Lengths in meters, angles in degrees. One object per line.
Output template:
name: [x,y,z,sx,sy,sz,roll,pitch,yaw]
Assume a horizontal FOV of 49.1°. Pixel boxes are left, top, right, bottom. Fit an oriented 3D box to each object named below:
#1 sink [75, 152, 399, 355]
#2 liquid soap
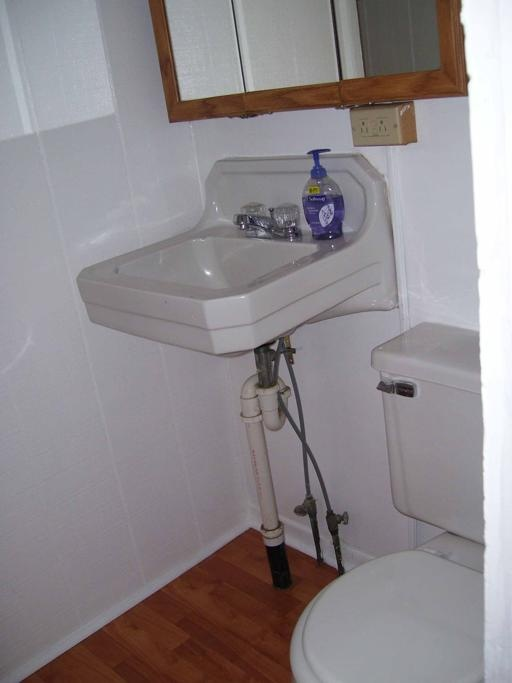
sink: [-0.078,-0.194,1.301,0.513,0.364,0.592,-25,24,-34]
liquid soap: [0.156,-0.336,1.298,0.104,0.196,0.097,-21,23,-36]
